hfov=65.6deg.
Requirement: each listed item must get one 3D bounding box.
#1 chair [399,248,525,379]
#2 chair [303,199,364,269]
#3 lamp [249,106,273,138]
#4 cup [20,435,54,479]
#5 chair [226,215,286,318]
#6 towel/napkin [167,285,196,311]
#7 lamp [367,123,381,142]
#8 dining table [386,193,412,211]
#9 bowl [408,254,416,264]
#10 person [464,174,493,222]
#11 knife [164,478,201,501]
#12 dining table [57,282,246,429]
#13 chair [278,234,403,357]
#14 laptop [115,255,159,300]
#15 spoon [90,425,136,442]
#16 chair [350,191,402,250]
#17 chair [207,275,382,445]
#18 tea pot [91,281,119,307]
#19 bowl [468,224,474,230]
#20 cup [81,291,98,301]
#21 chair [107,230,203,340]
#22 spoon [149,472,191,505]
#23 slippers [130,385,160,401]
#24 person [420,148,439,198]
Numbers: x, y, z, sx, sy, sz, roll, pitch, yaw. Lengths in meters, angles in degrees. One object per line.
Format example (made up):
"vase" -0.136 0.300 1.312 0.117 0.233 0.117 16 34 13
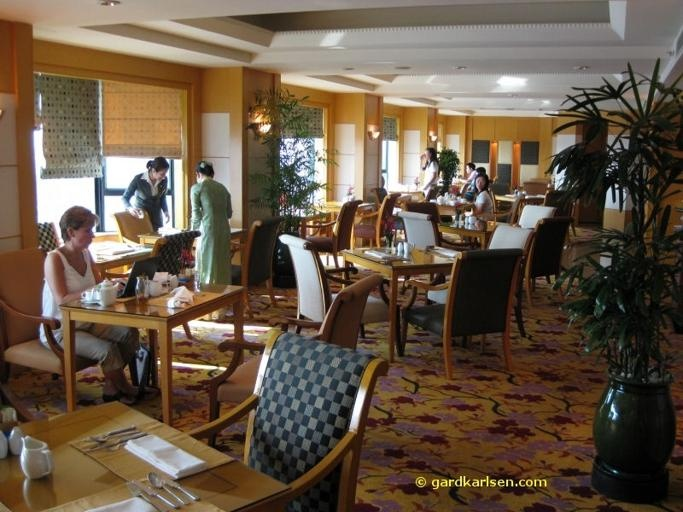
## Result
"chair" 1.140 0.481 5.157 0.840 1.118 0.994 -1 5 -19
"chair" -0.146 -0.301 8.714 0.844 1.102 0.644 1 3 26
"lamp" -1.273 -2.134 8.406 0.383 0.481 0.302 -1 11 -8
"cup" -1.151 0.780 2.035 0.158 0.140 0.092 8 10 27
"chair" -1.280 0.078 6.922 0.888 1.192 0.744 3 7 19
"towel/napkin" -1.219 0.325 4.049 0.132 0.059 0.169 4 11 11
"lamp" 0.747 -2.922 12.458 0.193 0.419 0.465 5 15 25
"dining table" 1.227 -1.177 11.404 0.567 0.408 0.905 -4 12 -11
"bowl" 0.760 0.036 5.642 0.100 0.093 0.062 1 3 -7
"person" 2.310 -1.021 9.016 0.583 0.750 0.503 3 15 12
"knife" -0.582 0.857 1.944 0.022 0.013 0.162 -16 14 -33
"dining table" -1.469 0.404 4.345 1.030 1.086 1.525 3 9 19
"chair" -0.021 0.382 5.116 0.873 1.160 0.733 -5 7 -25
"laptop" -1.545 0.152 4.198 0.280 0.261 0.376 15 -12 -5
"spoon" -0.978 0.762 2.319 0.054 0.031 0.225 8 6 33
"chair" 0.525 -0.628 10.643 0.872 1.108 0.743 -4 10 1
"chair" -0.330 0.716 3.711 0.946 1.182 0.790 5 7 13
"tea pot" -1.781 0.268 3.974 0.233 0.176 0.156 1 11 1
"bowl" 2.048 -0.463 8.356 0.092 0.083 0.086 0 7 0
"cup" -1.898 0.295 4.032 0.127 0.087 0.080 0 6 2
"chair" -1.624 0.116 4.857 0.640 0.838 0.499 7 10 19
"spoon" -0.634 0.852 1.938 0.062 0.040 0.314 -7 10 -31
"slippers" -1.655 1.159 4.508 0.057 0.086 0.239 -26 -17 28
"person" 2.106 -1.973 12.577 0.343 1.164 1.078 3 11 10
